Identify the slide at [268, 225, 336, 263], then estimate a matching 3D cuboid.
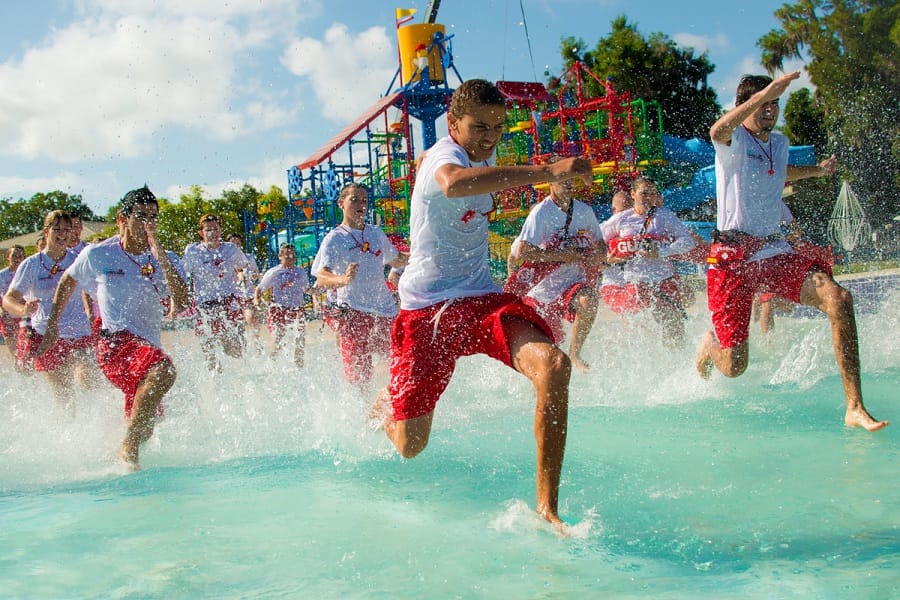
[{"bbox_3d":[-3.640,-1.402,19.533,1.497,1.098,2.142,0,2,12],"label":"slide"}]
